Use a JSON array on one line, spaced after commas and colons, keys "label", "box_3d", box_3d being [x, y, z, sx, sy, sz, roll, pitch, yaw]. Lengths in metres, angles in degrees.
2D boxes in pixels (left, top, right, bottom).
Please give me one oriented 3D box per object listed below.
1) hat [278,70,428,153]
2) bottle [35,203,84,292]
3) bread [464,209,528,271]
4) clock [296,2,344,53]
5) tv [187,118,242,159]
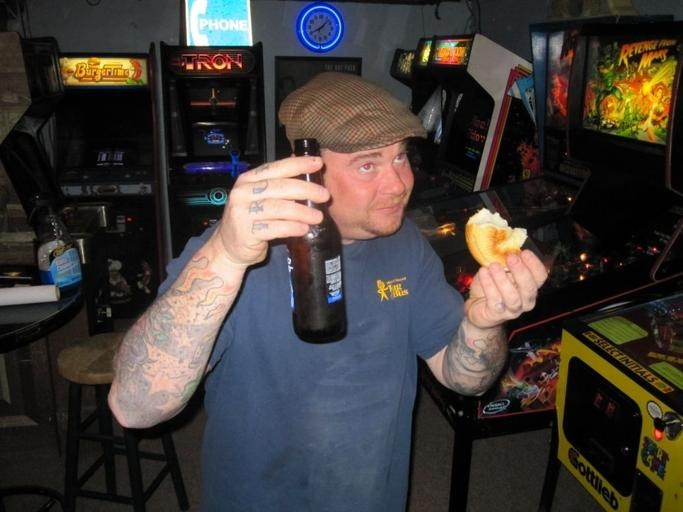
[{"label": "hat", "box_3d": [0.028, -0.560, 1.902, 0.429, 0.168, 0.314, 9, 29, 18]}, {"label": "bottle", "box_3d": [-1.581, -0.028, 2.947, 0.192, 0.282, 0.590, -13, 44, -34]}, {"label": "bread", "box_3d": [0.574, -0.060, 2.082, 0.235, 0.112, 0.236, 45, 54, 2]}, {"label": "clock", "box_3d": [-0.279, -2.786, 6.392, 0.587, 0.572, 0.060, -3, 21, -8]}, {"label": "tv", "box_3d": [-1.193, -1.081, 4.957, 0.514, 0.355, 0.324, -1, 5, -7]}]
